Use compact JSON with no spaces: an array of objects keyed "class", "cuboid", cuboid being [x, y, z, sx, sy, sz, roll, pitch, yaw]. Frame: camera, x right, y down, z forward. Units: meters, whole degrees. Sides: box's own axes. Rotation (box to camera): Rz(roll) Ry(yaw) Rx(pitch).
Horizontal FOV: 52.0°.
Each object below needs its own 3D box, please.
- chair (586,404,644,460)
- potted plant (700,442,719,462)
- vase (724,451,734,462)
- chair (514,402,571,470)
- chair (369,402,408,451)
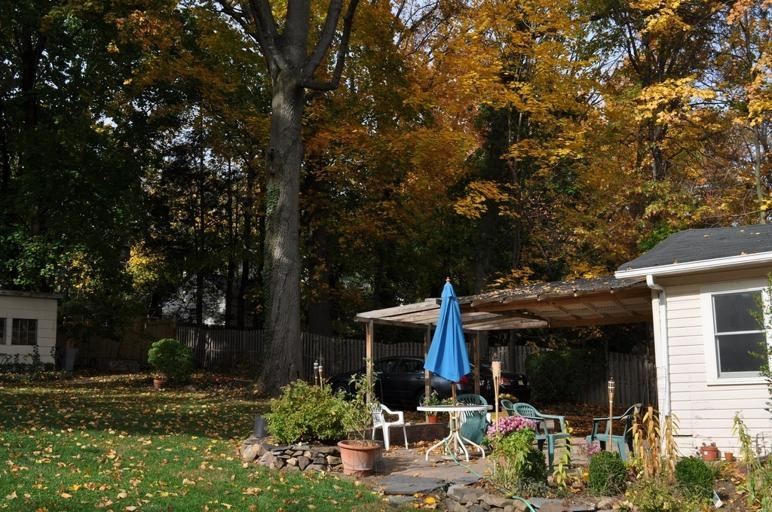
[{"class":"chair","cuboid":[5.822,4.639,20.336,1.204,1.573,0.988,-3,-3,38]},{"class":"potted plant","cuboid":[8.161,4.922,20.000,0.436,0.406,0.429,0,-3,-14]},{"class":"vase","cuboid":[8.580,5.003,19.807,0.229,0.253,0.344,-4,-13,23]},{"class":"chair","cuboid":[3.975,4.534,20.192,1.246,1.519,1.197,5,-8,-37]},{"class":"chair","cuboid":[0.105,4.845,22.757,1.266,1.643,1.196,8,-15,-39]}]
